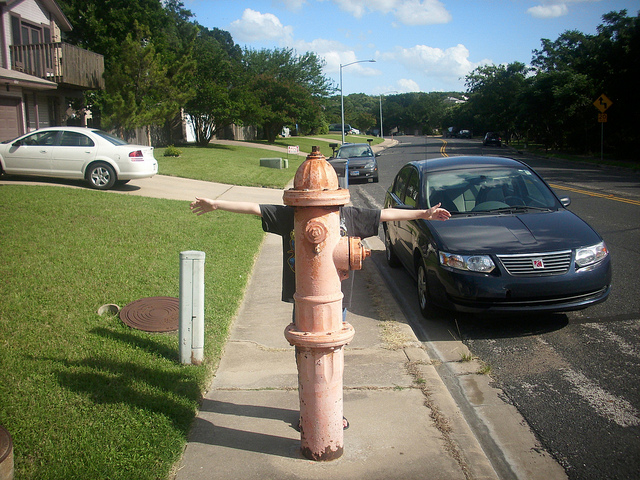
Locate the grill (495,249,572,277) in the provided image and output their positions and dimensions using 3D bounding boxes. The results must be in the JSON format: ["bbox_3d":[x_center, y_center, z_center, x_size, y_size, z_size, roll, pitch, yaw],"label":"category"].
[{"bbox_3d":[2.606,0.288,6.126,0.901,0.296,0.200,1,13,-2],"label":"grill"}]

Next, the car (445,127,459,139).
[{"bbox_3d":[23.909,-19.019,92.429,2.110,2.079,3.942,-2,2,3],"label":"car"}]

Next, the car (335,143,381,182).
[{"bbox_3d":[1.775,-3.578,23.706,1.396,1.220,2.369,-1,12,5],"label":"car"}]

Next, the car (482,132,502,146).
[{"bbox_3d":[20.528,-11.831,60.584,1.778,1.324,2.960,9,15,27],"label":"car"}]

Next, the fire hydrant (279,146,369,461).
[{"bbox_3d":[0.026,0.564,4.044,0.639,2.369,0.442,2,12,6],"label":"fire hydrant"}]

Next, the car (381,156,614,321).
[{"bbox_3d":[2.347,-0.023,7.290,2.154,2.045,2.956,-2,14,-13],"label":"car"}]
